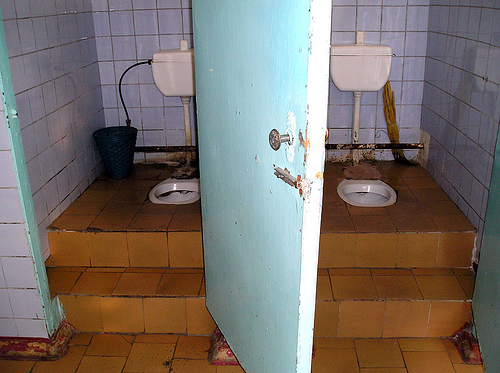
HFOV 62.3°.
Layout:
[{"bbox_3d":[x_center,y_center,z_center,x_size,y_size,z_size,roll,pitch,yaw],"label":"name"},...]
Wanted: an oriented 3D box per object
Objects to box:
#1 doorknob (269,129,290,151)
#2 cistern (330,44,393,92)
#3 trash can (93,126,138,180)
[{"bbox_3d":[0.108,-0.174,1.555,0.030,0.076,0.130,-10,25,-21],"label":"doorknob"},{"bbox_3d":[0.919,-0.962,3.430,0.491,0.359,0.286,3,11,13],"label":"cistern"},{"bbox_3d":[-1.155,-0.303,3.671,0.346,0.406,0.357,-4,23,-9],"label":"trash can"}]
